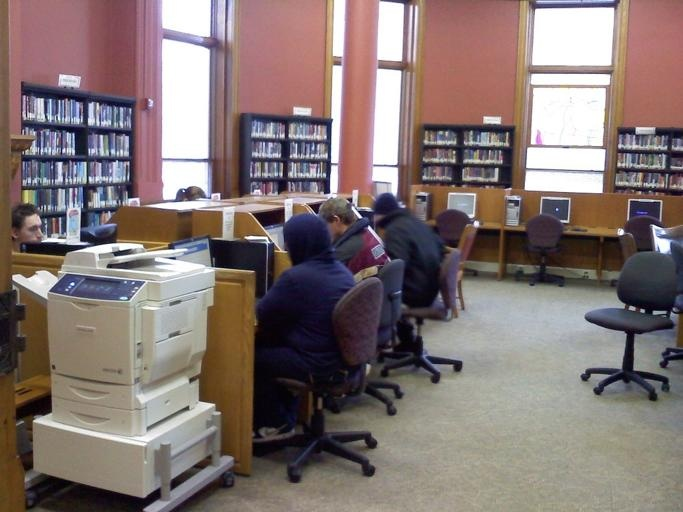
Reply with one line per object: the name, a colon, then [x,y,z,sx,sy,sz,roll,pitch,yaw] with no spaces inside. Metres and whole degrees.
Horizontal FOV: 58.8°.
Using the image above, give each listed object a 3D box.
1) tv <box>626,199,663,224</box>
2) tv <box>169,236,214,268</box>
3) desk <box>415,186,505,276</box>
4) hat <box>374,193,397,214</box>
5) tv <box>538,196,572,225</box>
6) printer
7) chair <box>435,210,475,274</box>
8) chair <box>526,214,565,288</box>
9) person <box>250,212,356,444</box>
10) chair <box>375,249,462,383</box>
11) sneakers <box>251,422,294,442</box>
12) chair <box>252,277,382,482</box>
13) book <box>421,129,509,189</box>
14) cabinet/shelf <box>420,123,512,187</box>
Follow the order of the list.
tv: [4.354,-0.640,8.656,0.341,0.296,0.038,2,-4,27]
tv: [-0.987,-0.036,3.993,0.175,0.240,0.233,-2,2,29]
desk: [1.644,-0.345,8.083,1.190,1.298,0.424,1,5,15]
hat: [0.349,-0.419,5.065,0.140,0.185,0.182,2,-15,-16]
tv: [3.161,-0.672,8.948,0.376,0.389,0.042,5,2,15]
printer: [-1.113,0.389,3.395,0.923,0.987,0.716,3,6,22]
chair: [1.621,-0.312,8.961,0.593,0.850,0.670,5,16,18]
chair: [2.900,-0.091,8.630,0.520,1.009,0.383,0,7,15]
person: [-0.246,0.431,3.582,0.636,1.351,0.352,-1,6,6]
chair: [0.755,0.463,5.431,0.875,1.366,0.935,2,2,6]
sneakers: [-0.415,1.078,3.698,0.186,0.072,0.112,-1,-3,-20]
chair: [-0.164,0.669,4.076,0.946,1.394,1.012,3,3,12]
book: [2.188,-1.726,10.516,1.007,1.048,0.287,1,3,10]
cabinet/shelf: [2.179,-1.813,10.414,1.392,1.425,0.396,7,28,17]
